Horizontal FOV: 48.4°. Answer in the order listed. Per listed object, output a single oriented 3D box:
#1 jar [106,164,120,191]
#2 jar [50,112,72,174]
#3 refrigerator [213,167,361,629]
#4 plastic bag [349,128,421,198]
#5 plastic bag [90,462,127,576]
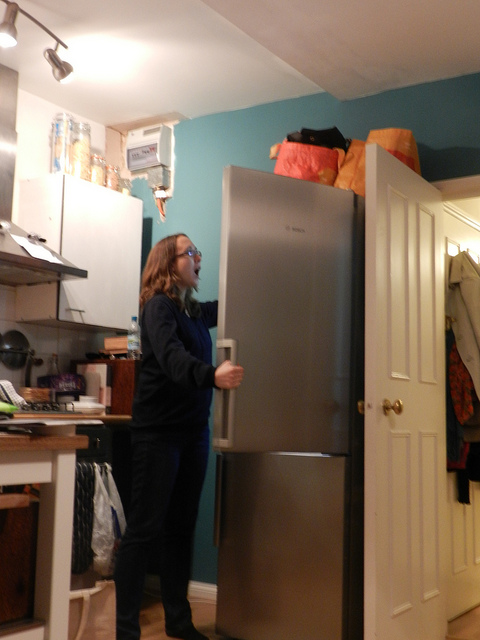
[{"bbox_3d":[-0.767,-0.863,3.195,0.042,0.155,0.113,-3,-6,15],"label":"jar"},{"bbox_3d":[-1.010,-1.000,3.017,0.095,0.297,0.133,2,0,-20],"label":"jar"},{"bbox_3d":[0.184,0.350,1.777,0.524,1.590,0.543,2,0,0],"label":"refrigerator"},{"bbox_3d":[0.615,-0.647,2.224,0.370,0.300,0.155,2,0,-34],"label":"plastic bag"},{"bbox_3d":[-0.569,0.861,2.311,0.139,0.411,0.264,2,0,-13],"label":"plastic bag"}]
